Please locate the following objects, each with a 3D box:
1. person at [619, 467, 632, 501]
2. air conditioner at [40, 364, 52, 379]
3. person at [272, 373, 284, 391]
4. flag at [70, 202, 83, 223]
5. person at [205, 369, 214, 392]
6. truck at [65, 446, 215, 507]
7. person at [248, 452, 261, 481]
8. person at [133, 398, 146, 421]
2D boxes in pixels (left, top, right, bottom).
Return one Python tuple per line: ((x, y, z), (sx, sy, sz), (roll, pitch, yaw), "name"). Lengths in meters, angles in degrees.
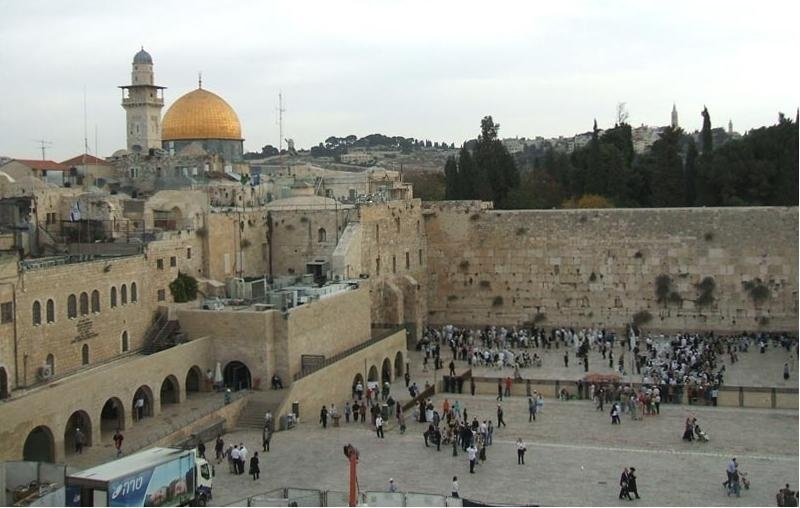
((8.826, 8.953, 46.230), (0.452, 1.145, 0.606), (0, 3, 10), "person")
((-15.066, 4.971, 50.115), (0.313, 0.619, 0.602), (0, 3, 2), "air conditioner")
((-5.681, 5.828, 54.314), (0.496, 0.692, 0.443), (0, 3, 8), "person")
((-15.271, -1.994, 55.353), (0.365, 0.988, 0.432), (2, -9, -4), "flag")
((-8.861, 5.735, 54.319), (0.324, 1.015, 0.537), (-1, 3, -9), "person")
((-9.905, 8.500, 44.139), (3.948, 1.892, 2.201), (-7, 8, -42), "truck")
((-5.919, 8.502, 47.490), (0.412, 1.030, 0.635), (-1, 3, -8), "person")
((-11.453, 6.687, 51.485), (0.425, 0.951, 0.629), (-1, 3, -8), "person")
